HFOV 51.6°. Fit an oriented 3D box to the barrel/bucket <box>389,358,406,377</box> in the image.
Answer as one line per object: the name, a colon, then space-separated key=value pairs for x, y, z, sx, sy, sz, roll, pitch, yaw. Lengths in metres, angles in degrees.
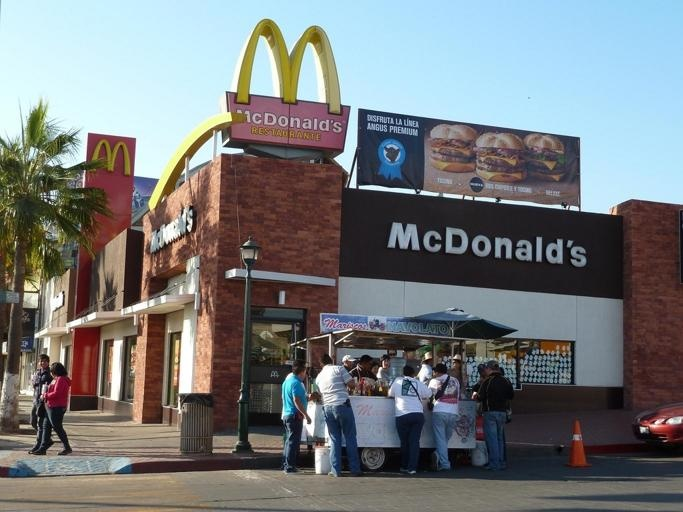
barrel/bucket: x=1.307 y=2.767 z=17.604 sx=0.401 sy=0.605 sz=0.395 roll=0 pitch=-11 yaw=0

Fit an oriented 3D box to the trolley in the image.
trolley: x=1.118 y=3.746 z=15.402 sx=3.343 sy=1.742 sz=1.661 roll=0 pitch=-4 yaw=-13

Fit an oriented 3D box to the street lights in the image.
street lights: x=-2.152 y=1.997 z=16.582 sx=0.613 sy=4.854 sz=0.782 roll=7 pitch=-8 yaw=-42

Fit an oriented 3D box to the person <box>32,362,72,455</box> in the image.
person: x=-6.356 y=3.314 z=15.588 sx=0.671 sy=1.999 sz=0.844 roll=6 pitch=-6 yaw=-29

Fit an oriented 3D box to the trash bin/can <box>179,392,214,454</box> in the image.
trash bin/can: x=-3.238 y=3.697 z=15.583 sx=0.697 sy=1.297 sz=0.512 roll=2 pitch=-11 yaw=-12
